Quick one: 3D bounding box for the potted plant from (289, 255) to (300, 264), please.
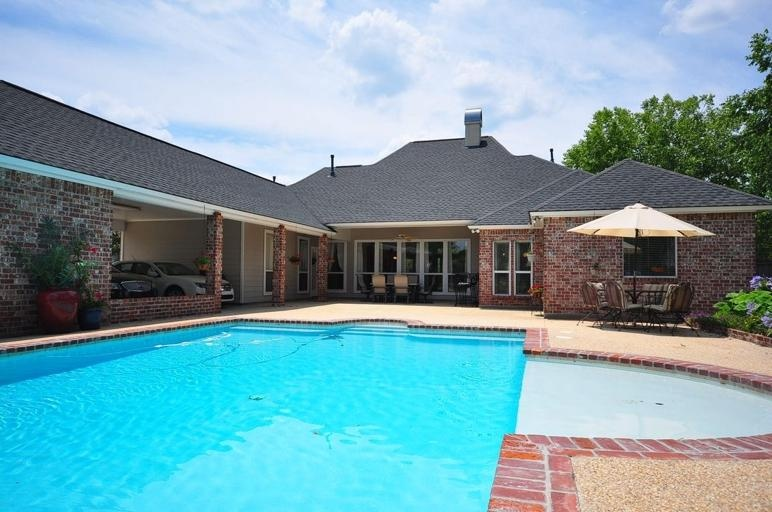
[{"bbox_3d":[-4.046,0.174,23.008,0.373,0.249,0.370,1,-2,-43],"label":"potted plant"}]

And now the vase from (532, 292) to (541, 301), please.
[{"bbox_3d":[5.637,1.495,19.567,0.287,0.155,0.263,-1,-3,-3],"label":"vase"}]

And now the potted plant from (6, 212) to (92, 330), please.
[{"bbox_3d":[-8.231,0.462,13.075,0.789,2.866,1.773,1,-3,22],"label":"potted plant"}]

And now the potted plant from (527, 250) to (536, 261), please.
[{"bbox_3d":[5.331,0.033,19.377,0.350,0.230,0.342,-2,-3,34],"label":"potted plant"}]

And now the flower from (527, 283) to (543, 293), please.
[{"bbox_3d":[5.489,1.192,19.170,0.413,0.201,0.312,-3,-1,19],"label":"flower"}]

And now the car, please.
[{"bbox_3d":[-7.873,0.845,18.861,4.189,1.251,1.782,-3,-5,18],"label":"car"}]

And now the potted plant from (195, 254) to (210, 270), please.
[{"bbox_3d":[-5.965,0.227,16.893,0.478,0.420,0.456,3,0,20],"label":"potted plant"}]

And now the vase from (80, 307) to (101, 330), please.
[{"bbox_3d":[-7.621,1.632,13.589,0.583,0.435,0.581,-1,-6,-5],"label":"vase"}]
